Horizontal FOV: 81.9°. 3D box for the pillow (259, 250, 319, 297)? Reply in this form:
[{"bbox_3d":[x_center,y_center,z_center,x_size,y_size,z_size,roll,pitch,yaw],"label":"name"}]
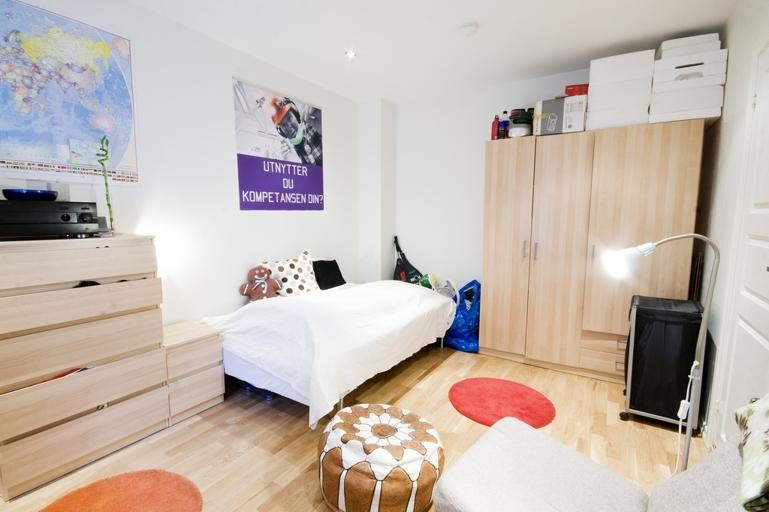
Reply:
[{"bbox_3d":[-1.051,0.194,4.785,0.448,0.377,0.153,-11,-25,-37],"label":"pillow"}]

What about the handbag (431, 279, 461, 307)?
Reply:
[{"bbox_3d":[0.758,0.407,5.328,0.229,0.310,0.328,-28,46,-16],"label":"handbag"}]

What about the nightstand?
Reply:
[{"bbox_3d":[-1.652,1.048,3.896,0.520,0.717,0.222,-7,12,-31],"label":"nightstand"}]

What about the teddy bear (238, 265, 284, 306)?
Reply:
[{"bbox_3d":[-1.279,0.305,4.537,0.333,0.319,0.158,-17,-11,-25],"label":"teddy bear"}]

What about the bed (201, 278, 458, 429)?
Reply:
[{"bbox_3d":[-0.204,0.721,4.325,1.130,0.586,1.823,5,7,35],"label":"bed"}]
